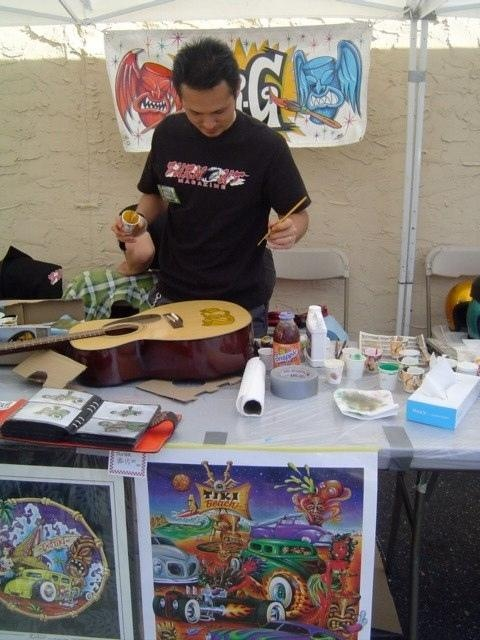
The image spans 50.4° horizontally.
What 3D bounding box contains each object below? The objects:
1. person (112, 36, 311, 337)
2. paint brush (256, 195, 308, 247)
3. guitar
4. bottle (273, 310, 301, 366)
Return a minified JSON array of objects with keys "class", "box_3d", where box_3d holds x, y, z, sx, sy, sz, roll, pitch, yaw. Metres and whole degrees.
[{"class":"person","box_3d":[-0.097,-0.457,2.031,0.619,1.110,0.559,2,26,-5]},{"class":"paint brush","box_3d":[0.143,-0.358,1.808,0.307,0.035,0.042,-48,3,-18]},{"class":"guitar","box_3d":[-0.290,0.008,1.494,0.704,0.202,0.500,-1,21,-6]},{"class":"bottle","box_3d":[0.128,0.051,1.431,0.073,0.159,0.058,-6,12,-20]}]
